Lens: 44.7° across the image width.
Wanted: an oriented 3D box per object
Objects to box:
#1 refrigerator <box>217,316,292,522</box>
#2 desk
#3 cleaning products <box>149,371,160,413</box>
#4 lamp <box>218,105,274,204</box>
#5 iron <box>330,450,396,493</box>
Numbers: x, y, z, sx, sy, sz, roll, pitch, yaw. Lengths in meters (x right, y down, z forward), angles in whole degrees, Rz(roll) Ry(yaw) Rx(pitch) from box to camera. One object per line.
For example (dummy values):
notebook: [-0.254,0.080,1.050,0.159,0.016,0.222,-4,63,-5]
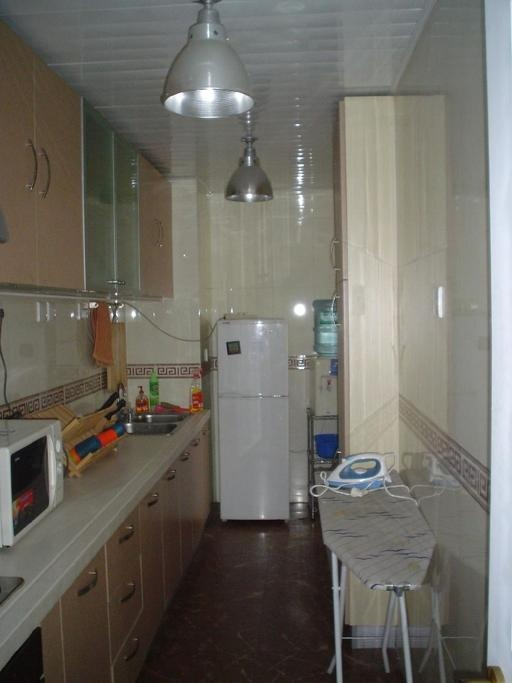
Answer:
refrigerator: [-0.016,0.440,4.368,0.387,1.513,0.555,1,6,-2]
desk: [0.341,0.770,1.876,0.315,0.653,0.679,2,7,3]
cleaning products: [-0.692,0.328,4.271,0.069,0.249,0.199,-1,2,-9]
lamp: [-0.013,-0.933,3.224,0.157,0.391,0.202,2,8,2]
iron: [0.363,0.470,2.318,0.284,0.217,0.112,-3,0,7]
